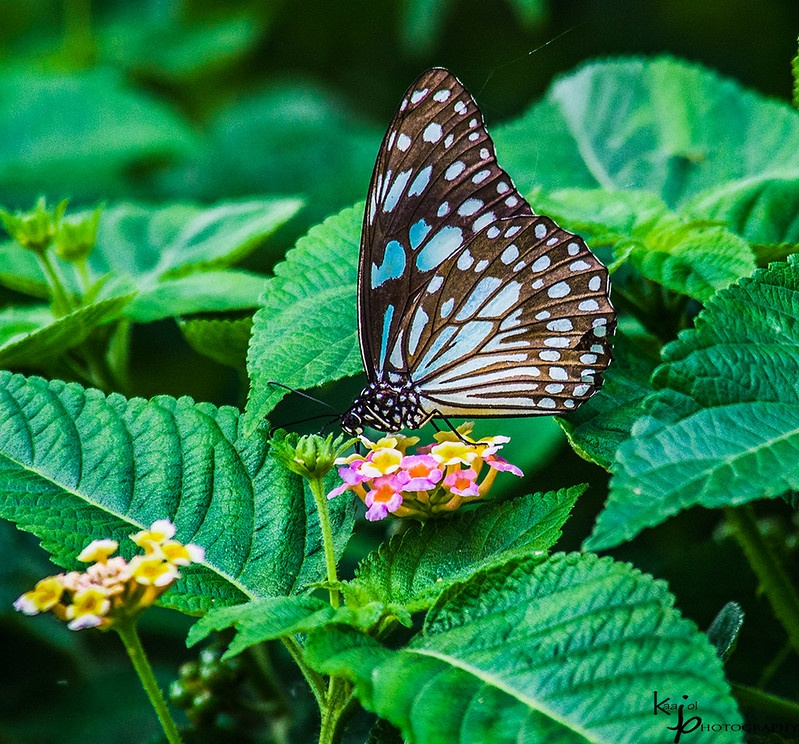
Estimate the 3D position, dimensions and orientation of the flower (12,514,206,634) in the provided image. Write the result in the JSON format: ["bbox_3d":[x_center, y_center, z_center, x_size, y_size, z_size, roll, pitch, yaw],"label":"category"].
[{"bbox_3d":[-0.398,0.291,1.470,0.185,0.087,0.180,-23,4,15],"label":"flower"}]

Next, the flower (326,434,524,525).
[{"bbox_3d":[0.049,0.152,1.672,0.197,0.064,0.189,-16,4,-34],"label":"flower"}]
